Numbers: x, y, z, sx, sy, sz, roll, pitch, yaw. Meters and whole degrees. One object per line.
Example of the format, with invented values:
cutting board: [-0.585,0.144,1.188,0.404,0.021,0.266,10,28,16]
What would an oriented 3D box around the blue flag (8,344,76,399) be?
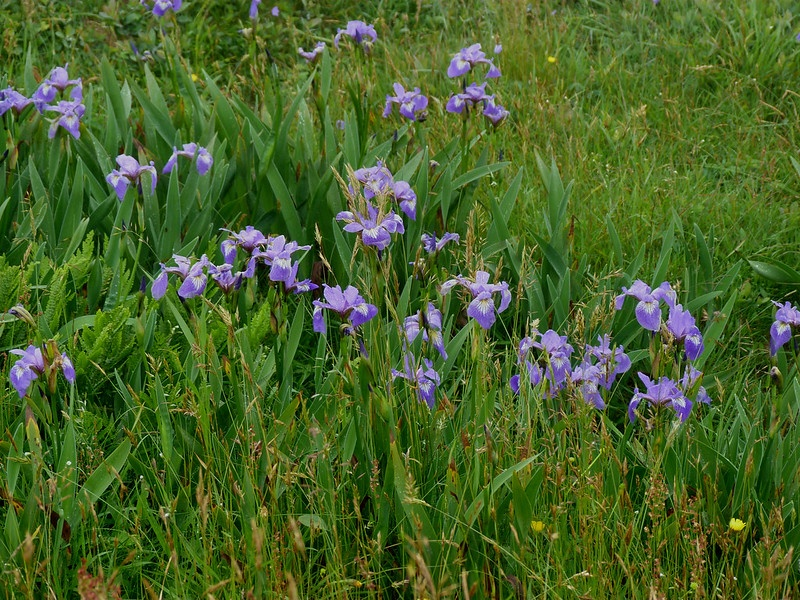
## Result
blue flag: [-1.227,0.265,2.778,0.153,0.122,0.189,-6,5,-3]

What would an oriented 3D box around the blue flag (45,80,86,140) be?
blue flag: [-1.684,-0.952,4.103,0.178,0.279,0.452,-4,27,-25]
